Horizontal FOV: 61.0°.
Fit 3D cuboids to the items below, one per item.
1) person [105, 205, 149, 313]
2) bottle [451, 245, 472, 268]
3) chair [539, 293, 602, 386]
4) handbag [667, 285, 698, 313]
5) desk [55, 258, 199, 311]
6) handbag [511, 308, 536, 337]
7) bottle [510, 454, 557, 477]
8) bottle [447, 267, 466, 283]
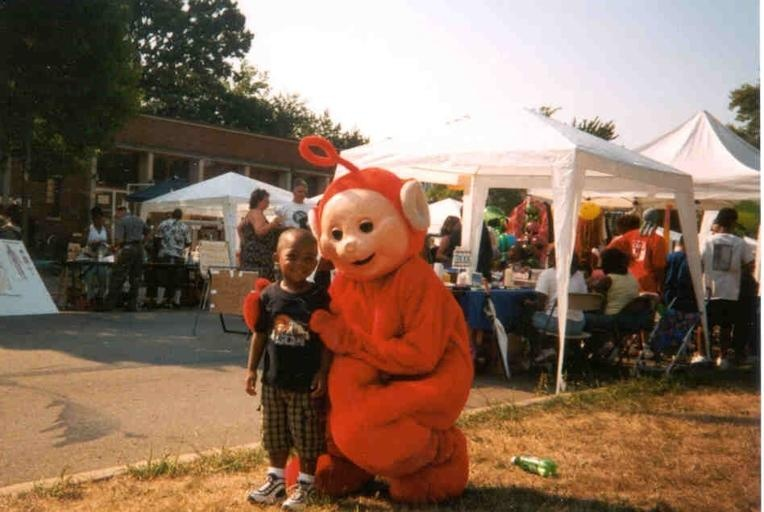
[{"bbox_3d":[-4.943,0.049,12.451,0.669,1.979,1.047,1,0,-21],"label":"person"},{"bbox_3d":[1.137,0.035,9.177,0.265,0.259,0.271,-1,-9,4],"label":"bottle"},{"bbox_3d":[2.433,1.091,8.686,0.913,1.302,1.062,3,2,-2],"label":"chair"},{"bbox_3d":[4.073,0.604,8.744,0.298,0.217,0.299,-1,-4,2],"label":"handbag"},{"bbox_3d":[-4.928,0.544,13.332,3.056,1.075,1.069,0,7,0],"label":"desk"},{"bbox_3d":[1.903,0.865,8.649,0.222,0.403,0.373,3,-4,-42],"label":"handbag"},{"bbox_3d":[1.365,1.836,5.750,0.275,0.098,0.176,6,4,31],"label":"bottle"},{"bbox_3d":[1.035,0.279,8.838,0.162,0.171,0.241,1,-4,1],"label":"bottle"}]
